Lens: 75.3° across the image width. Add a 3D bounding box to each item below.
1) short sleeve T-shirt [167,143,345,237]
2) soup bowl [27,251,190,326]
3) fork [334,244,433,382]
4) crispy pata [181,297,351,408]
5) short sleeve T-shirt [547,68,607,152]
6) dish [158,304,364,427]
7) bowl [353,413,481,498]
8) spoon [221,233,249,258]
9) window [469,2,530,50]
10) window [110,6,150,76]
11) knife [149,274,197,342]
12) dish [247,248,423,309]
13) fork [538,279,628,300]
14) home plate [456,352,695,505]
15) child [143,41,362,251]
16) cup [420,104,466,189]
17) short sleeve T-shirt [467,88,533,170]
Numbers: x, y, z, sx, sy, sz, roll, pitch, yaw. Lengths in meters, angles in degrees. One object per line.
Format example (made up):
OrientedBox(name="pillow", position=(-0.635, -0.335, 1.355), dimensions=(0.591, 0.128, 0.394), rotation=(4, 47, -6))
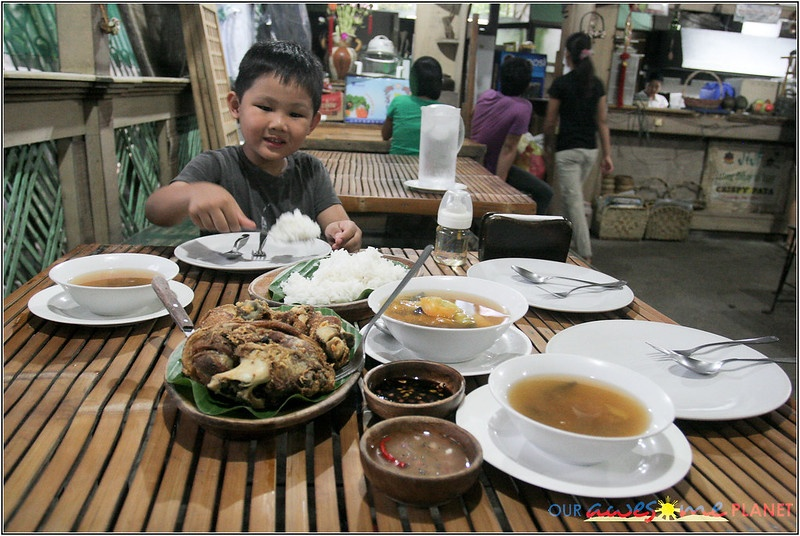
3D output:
OrientedBox(name="short sleeve T-shirt", position=(-0.752, -0.465, 2.975), dimensions=(0.623, 0.329, 0.793), rotation=(3, 4, 6))
OrientedBox(name="soup bowl", position=(-1.019, 0.082, 1.815), dimensions=(0.357, 0.121, 0.349), rotation=(6, 23, -3))
OrientedBox(name="fork", position=(-0.062, 0.161, 1.688), dimensions=(0.068, 0.497, 0.082), rotation=(39, -2, -40))
OrientedBox(name="crispy pata", position=(-0.374, 0.224, 1.510), dimensions=(0.411, 0.197, 0.449), rotation=(15, 20, 41))
OrientedBox(name="short sleeve T-shirt", position=(2.063, -1.837, 6.169), dimensions=(0.632, 0.926, 0.410), rotation=(6, 24, 10))
OrientedBox(name="dish", position=(-0.383, 0.252, 1.447), dimensions=(0.458, 0.161, 0.453), rotation=(19, 30, 14))
OrientedBox(name="bowl", position=(0.047, 0.487, 1.303), dimensions=(0.307, 0.118, 0.306), rotation=(4, 15, -1))
OrientedBox(name="spoon", position=(-0.740, -0.096, 2.362), dimensions=(0.051, 0.038, 0.143), rotation=(7, 43, 5))
OrientedBox(name="window", position=(1.532, -3.707, 7.849), dimensions=(0.802, 0.760, 2.740), rotation=(6, 21, 11))
OrientedBox(name="window", position=(-2.695, -2.263, 5.161), dimensions=(0.253, 0.679, 1.218), rotation=(-7, 23, -20))
OrientedBox(name="knife", position=(-0.708, 0.098, 1.630), dimensions=(0.086, 0.048, 0.591), rotation=(18, 17, -33))
OrientedBox(name="dish", position=(-0.257, 0.048, 1.878), dimensions=(0.345, 0.102, 0.349), rotation=(-8, 10, 7))
OrientedBox(name="fork", position=(0.739, 0.093, 2.116), dimensions=(0.411, 0.056, 0.063), rotation=(0, 31, 7))
OrientedBox(name="home plate", position=(0.461, 0.448, 1.334), dimensions=(0.432, 0.142, 0.410), rotation=(-7, 23, -17))
OrientedBox(name="child", position=(-0.749, -0.591, 2.588), dimensions=(1.038, 1.016, 1.131), rotation=(-9, 24, -23))
OrientedBox(name="cup", position=(0.262, -0.808, 3.498), dimensions=(0.254, 0.544, 0.254), rotation=(1, 23, -1))
OrientedBox(name="short sleeve T-shirt", position=(1.159, -1.641, 6.142), dimensions=(0.506, 0.839, 0.882), rotation=(-18, 41, -31))
